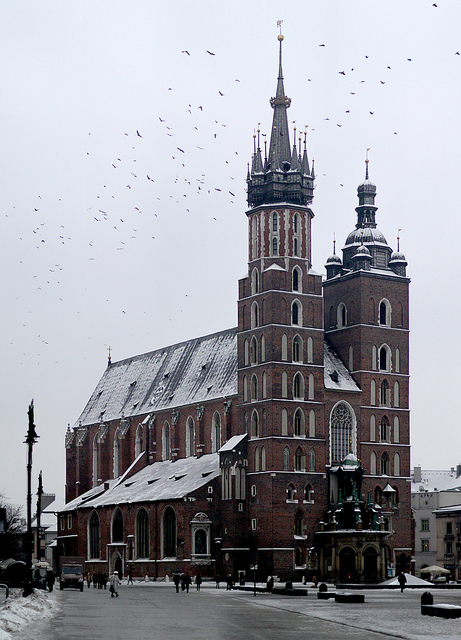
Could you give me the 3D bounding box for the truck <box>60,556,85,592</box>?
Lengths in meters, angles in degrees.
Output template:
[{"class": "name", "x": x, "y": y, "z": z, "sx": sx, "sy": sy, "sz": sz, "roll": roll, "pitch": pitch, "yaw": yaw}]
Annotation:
[{"class": "truck", "x": -9.598, "y": 15.593, "z": 105.484, "sx": 1.632, "sy": 3.056, "sz": 4.592, "roll": 0, "pitch": -15, "yaw": -6}]
